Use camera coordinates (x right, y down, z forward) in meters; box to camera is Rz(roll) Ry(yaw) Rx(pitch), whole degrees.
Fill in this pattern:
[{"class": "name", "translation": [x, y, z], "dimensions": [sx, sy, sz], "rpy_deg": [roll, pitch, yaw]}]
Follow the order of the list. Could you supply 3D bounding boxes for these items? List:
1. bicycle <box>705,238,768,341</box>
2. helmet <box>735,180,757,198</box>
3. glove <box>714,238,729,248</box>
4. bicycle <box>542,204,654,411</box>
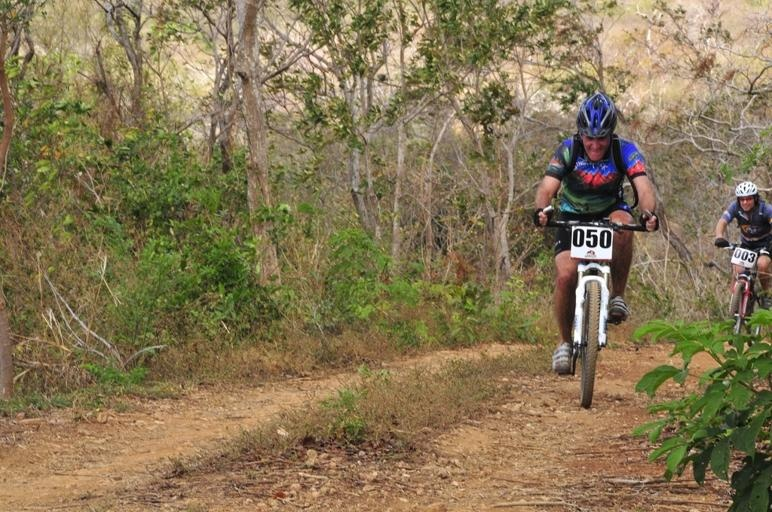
[{"class": "bicycle", "translation": [7.505, 0.439, 23.965], "dimensions": [0.996, 1.598, 0.561], "rpy_deg": [-4, 3, -38]}, {"class": "helmet", "translation": [7.594, -1.400, 24.125], "dimensions": [0.390, 0.319, 0.540], "rpy_deg": [-2, 2, 25]}, {"class": "glove", "translation": [6.991, -0.286, 23.916], "dimensions": [0.242, 0.187, 0.459], "rpy_deg": [-2, 2, 10]}, {"class": "bicycle", "translation": [3.546, 0.974, 19.843], "dimensions": [1.129, 3.271, 0.975], "rpy_deg": [-2, 2, 10]}]
